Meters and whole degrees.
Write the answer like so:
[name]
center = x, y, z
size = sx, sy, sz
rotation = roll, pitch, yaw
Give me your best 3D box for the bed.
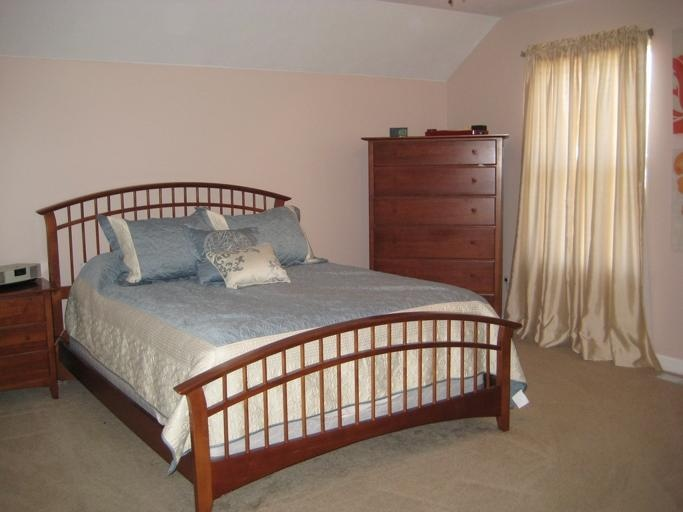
[bed]
center = -0.671, 0.367, 3.521
size = 1.973, 1.218, 2.249
rotation = -9, 14, -32
